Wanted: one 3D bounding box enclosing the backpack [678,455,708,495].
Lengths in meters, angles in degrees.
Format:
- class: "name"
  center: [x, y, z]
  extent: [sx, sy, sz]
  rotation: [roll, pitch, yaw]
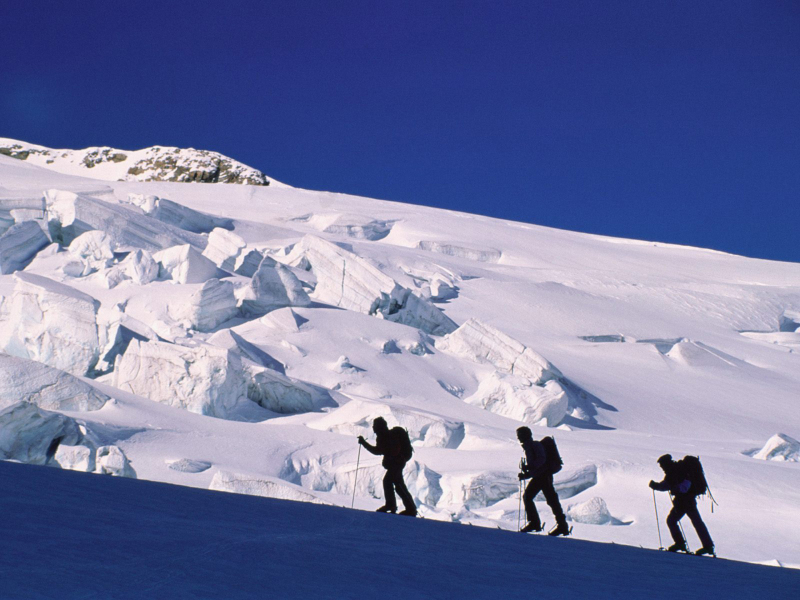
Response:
- class: "backpack"
  center: [6.637, 3.832, 34.699]
  extent: [0.707, 0.809, 0.292]
  rotation: [-18, -8, 33]
